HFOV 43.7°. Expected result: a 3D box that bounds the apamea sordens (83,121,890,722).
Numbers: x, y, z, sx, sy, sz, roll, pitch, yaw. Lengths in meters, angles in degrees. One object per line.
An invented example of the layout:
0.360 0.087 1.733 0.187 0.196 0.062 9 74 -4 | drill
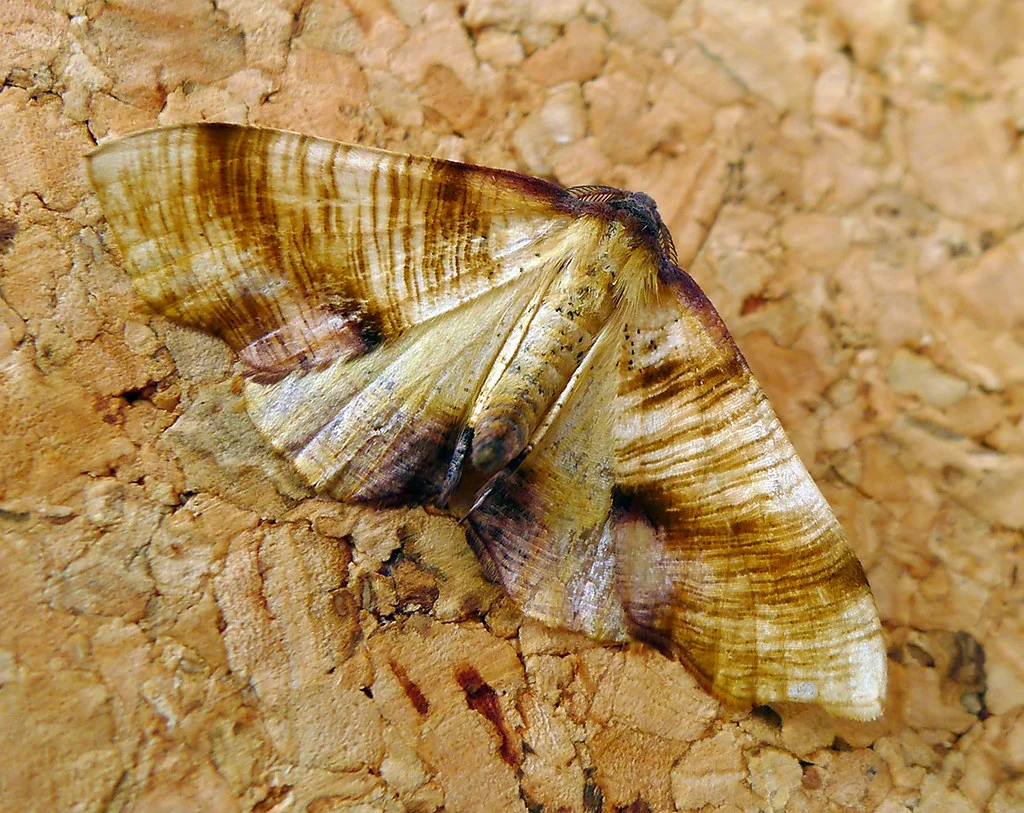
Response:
0.007 -0.039 3.639 2.494 0.559 1.055 38 67 6 | apamea sordens
